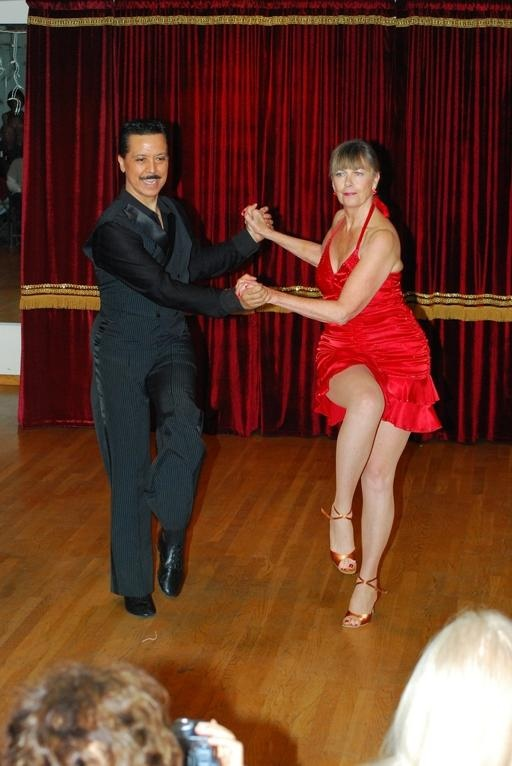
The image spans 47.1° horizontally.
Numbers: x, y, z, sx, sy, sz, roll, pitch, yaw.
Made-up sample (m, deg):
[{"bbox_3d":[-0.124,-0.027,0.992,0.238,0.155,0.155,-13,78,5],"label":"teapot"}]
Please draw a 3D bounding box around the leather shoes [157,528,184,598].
[{"bbox_3d":[-0.399,0.842,2.738,0.114,0.336,0.143,-4,1,-13],"label":"leather shoes"}]

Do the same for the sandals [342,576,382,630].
[{"bbox_3d":[0.485,0.963,2.609,0.094,0.120,0.306,8,44,22],"label":"sandals"}]
